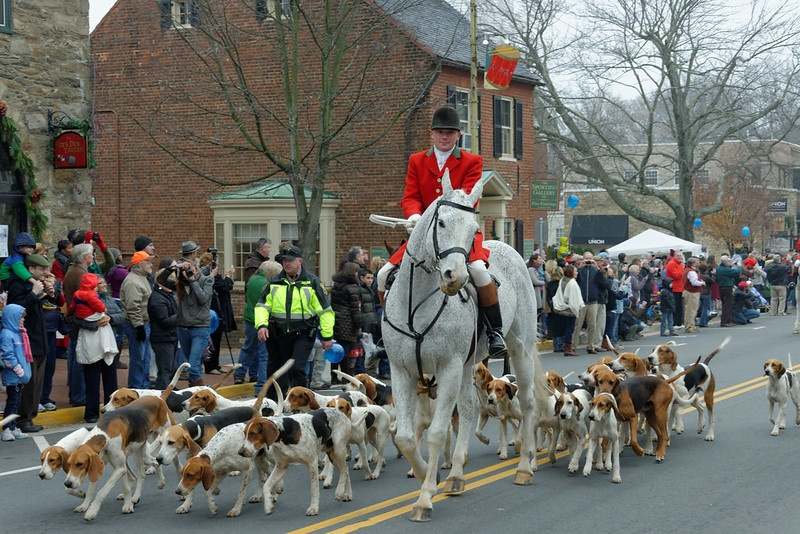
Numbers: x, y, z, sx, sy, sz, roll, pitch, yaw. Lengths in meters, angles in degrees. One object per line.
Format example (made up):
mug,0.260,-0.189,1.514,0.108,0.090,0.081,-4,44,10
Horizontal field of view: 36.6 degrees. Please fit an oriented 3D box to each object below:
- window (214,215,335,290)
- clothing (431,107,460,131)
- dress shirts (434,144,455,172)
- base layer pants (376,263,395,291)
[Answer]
window,-4.254,-1.191,42.135,4.746,3.631,2.348,0,0,1
clothing,0.818,-2.709,22.245,0.495,0.432,0.390,-2,0,-2
dress shirts,0.791,-1.986,22.478,0.354,0.329,0.415,0,1,8
base layer pants,-0.366,0.173,22.557,0.201,0.473,0.386,13,8,34
